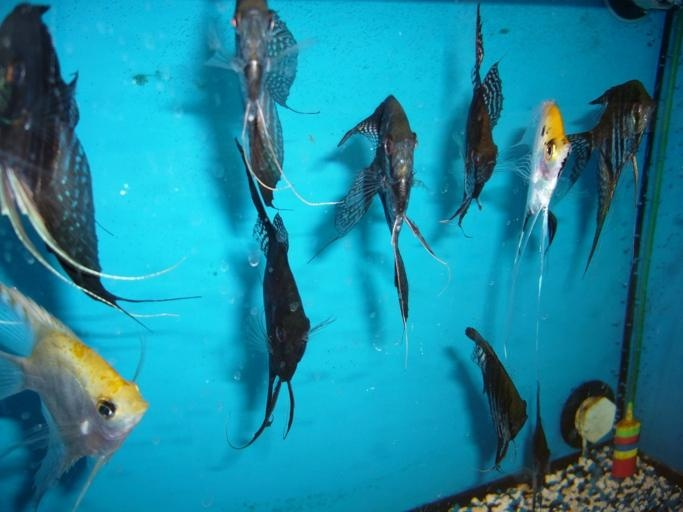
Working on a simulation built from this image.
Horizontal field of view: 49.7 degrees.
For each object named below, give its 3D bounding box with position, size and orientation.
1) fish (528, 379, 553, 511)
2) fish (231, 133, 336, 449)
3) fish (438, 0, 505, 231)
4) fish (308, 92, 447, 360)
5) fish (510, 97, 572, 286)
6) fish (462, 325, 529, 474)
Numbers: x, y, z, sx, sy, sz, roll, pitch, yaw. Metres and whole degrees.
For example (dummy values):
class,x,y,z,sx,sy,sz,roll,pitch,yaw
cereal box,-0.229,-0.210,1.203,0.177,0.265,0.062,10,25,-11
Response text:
class,x,y,z,sx,sy,sz,roll,pitch,yaw
fish,0.817,0.814,3.050,0.096,0.100,0.590,1,-82,6
fish,-0.254,0.145,2.760,0.264,0.371,1.162,0,-100,-22
fish,0.519,-0.565,2.863,0.151,0.893,0.420,3,-22,2
fish,0.146,-0.111,2.868,0.335,0.513,0.854,3,-36,0
fish,0.738,-0.277,2.935,0.151,0.336,0.644,3,-82,-1
fish,0.614,0.506,2.959,0.181,0.422,0.403,-19,-59,8
